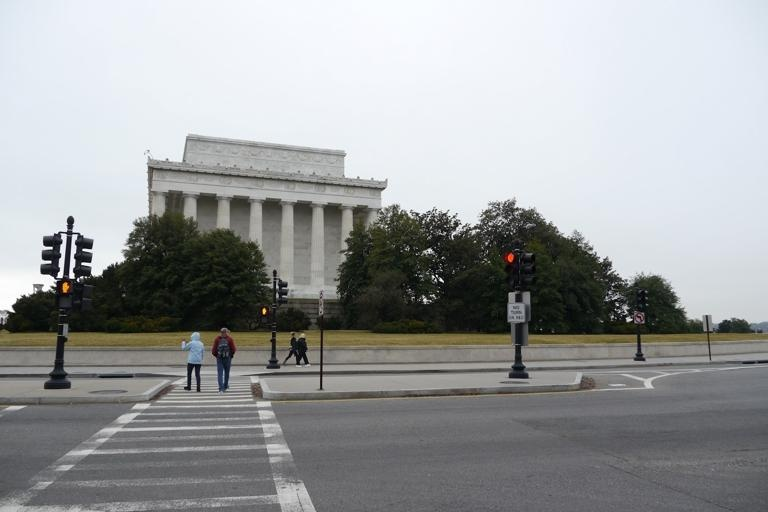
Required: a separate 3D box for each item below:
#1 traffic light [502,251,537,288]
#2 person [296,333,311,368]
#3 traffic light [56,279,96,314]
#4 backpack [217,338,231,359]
[{"bbox_3d":[5.356,0.500,29.847,1.398,1.627,1.370,5,-8,-38],"label":"traffic light"},{"bbox_3d":[-4.139,4.697,39.098,0.564,1.554,2.258,1,-5,-6],"label":"person"},{"bbox_3d":[-11.006,1.388,27.478,1.169,1.136,0.750,3,-6,-27],"label":"traffic light"},{"bbox_3d":[-5.645,3.241,27.185,0.658,0.860,0.480,3,-12,-25],"label":"backpack"}]
